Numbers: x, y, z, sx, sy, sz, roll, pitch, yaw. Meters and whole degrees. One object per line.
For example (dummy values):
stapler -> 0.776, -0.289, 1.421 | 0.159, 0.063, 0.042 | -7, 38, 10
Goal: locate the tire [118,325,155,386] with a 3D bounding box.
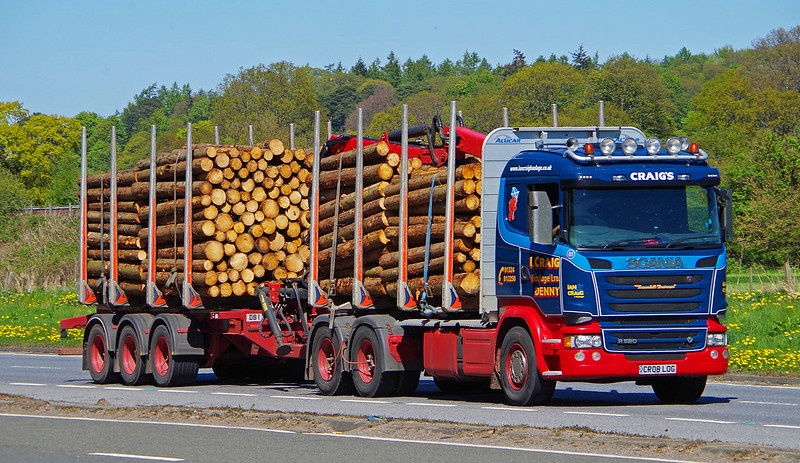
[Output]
tire -> -7.714, 3.601, 28.782 | 0.706, 2.013, 1.784 | -4, 2, -28

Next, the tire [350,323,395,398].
tire -> -0.662, 3.231, 24.830 | 0.715, 2.049, 1.798 | 2, 1, -38

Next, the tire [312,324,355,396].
tire -> -1.703, 3.324, 25.635 | 0.667, 1.918, 1.880 | -2, 0, -27

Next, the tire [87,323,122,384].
tire -> -8.910, 3.689, 29.629 | 0.653, 1.889, 1.721 | -2, 4, -31

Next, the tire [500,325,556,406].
tire -> 2.832, 3.075, 22.524 | 0.405, 1.872, 1.265 | -10, 7, -43
